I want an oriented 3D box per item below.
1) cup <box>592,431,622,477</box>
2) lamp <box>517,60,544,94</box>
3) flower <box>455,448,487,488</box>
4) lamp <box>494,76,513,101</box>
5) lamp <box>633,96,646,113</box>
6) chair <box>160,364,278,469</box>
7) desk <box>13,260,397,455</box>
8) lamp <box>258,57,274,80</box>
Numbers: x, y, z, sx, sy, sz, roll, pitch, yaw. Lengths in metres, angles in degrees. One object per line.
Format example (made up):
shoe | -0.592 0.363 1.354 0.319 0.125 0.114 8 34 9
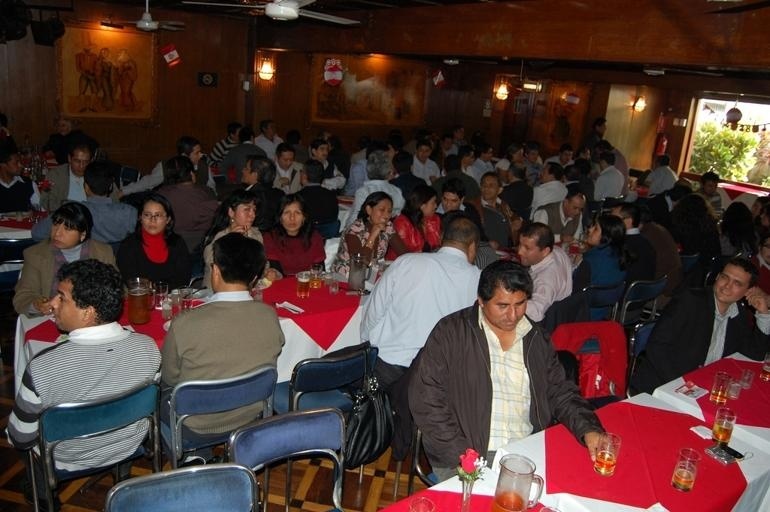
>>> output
cup | 1.140 1.000 2.738 0.116 0.188 0.156 9 16 22
lamp | 3.252 -3.927 11.843 0.547 0.504 1.337 7 15 14
flower | 0.408 0.970 2.452 0.154 0.203 0.080 -10 20 -40
lamp | 2.758 -3.917 12.550 0.367 0.519 0.693 7 15 15
lamp | 6.137 -3.620 12.780 0.427 0.385 0.154 -3 16 -21
chair | -0.936 0.880 2.991 0.428 0.703 0.416 -11 45 -24
desk | -0.968 0.594 3.796 1.668 0.439 1.012 -9 22 -30
lamp | -2.414 -3.792 10.863 0.314 0.386 0.215 -1 7 -7
